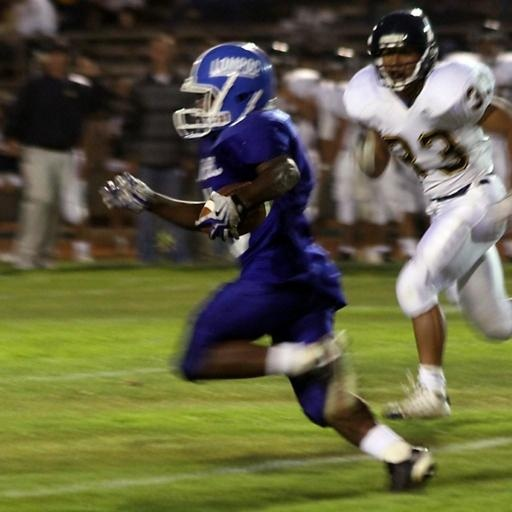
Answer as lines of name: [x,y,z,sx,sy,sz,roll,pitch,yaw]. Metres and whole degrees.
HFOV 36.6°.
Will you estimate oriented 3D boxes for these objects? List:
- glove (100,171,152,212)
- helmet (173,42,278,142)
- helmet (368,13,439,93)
glove: [-0.388,-0.192,2.258,0.129,0.108,0.188,-2,15,-23]
helmet: [-0.078,-0.441,2.080,0.262,0.267,0.376,3,15,-6]
helmet: [0.470,-0.648,2.442,0.180,0.258,0.171,19,22,36]
